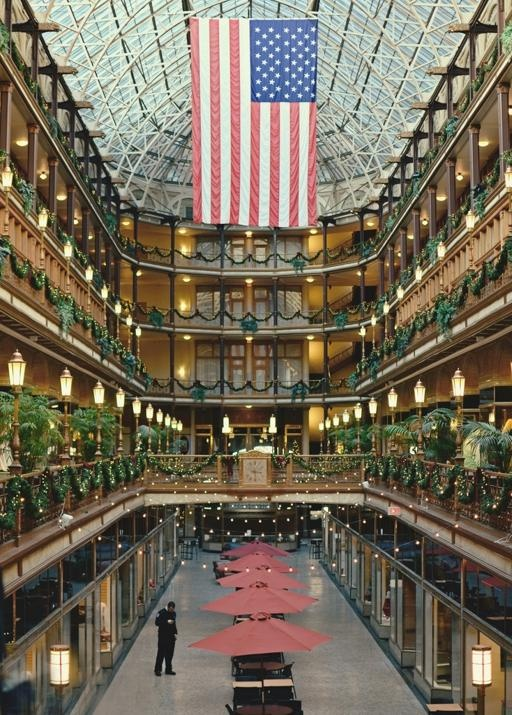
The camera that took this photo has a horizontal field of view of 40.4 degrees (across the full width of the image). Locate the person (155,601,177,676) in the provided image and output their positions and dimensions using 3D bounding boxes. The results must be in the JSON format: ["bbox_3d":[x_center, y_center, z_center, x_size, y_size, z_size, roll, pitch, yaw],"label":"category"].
[{"bbox_3d":[-2.433,7.458,18.565,0.548,1.873,1.265,1,-8,-8],"label":"person"}]
